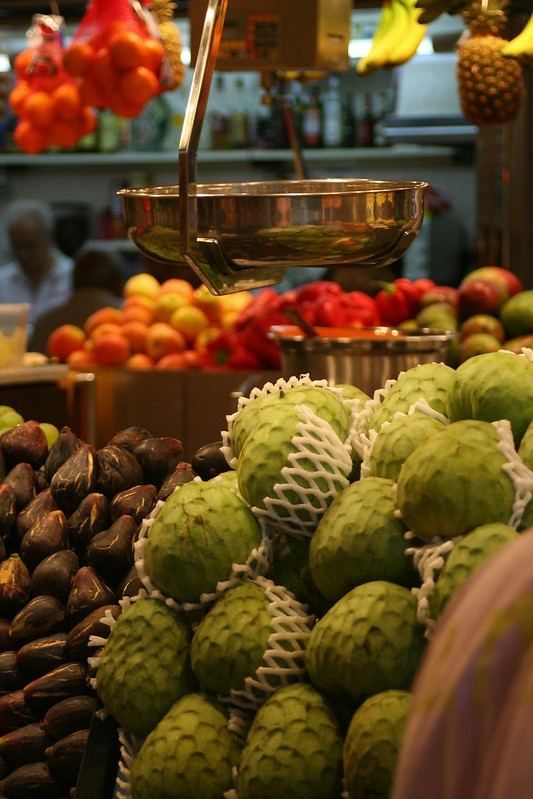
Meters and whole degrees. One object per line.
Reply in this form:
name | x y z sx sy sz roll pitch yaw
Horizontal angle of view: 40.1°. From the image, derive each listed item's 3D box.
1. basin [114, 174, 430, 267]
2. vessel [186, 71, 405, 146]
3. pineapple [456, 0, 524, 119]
basin | 0.005 -0.206 0.843 0.308 0.113 0.303 -3 12 1
vessel | 0.195 -1.991 5.013 1.312 0.591 0.355 -1 13 13
pineapple | 0.435 -0.654 1.425 0.126 0.202 0.330 0 13 19
